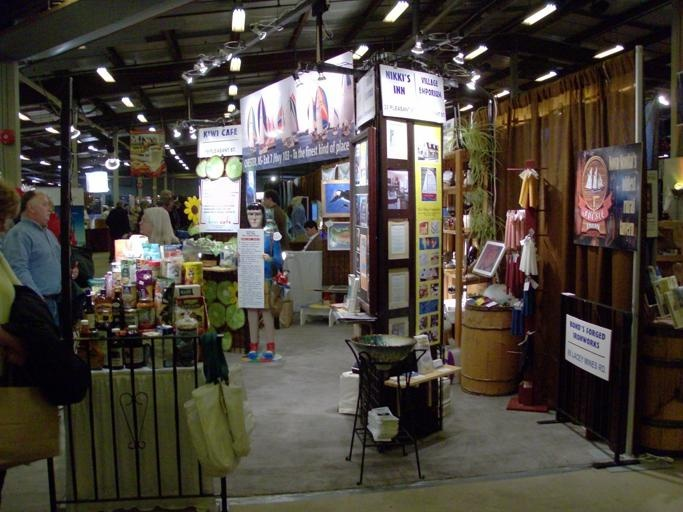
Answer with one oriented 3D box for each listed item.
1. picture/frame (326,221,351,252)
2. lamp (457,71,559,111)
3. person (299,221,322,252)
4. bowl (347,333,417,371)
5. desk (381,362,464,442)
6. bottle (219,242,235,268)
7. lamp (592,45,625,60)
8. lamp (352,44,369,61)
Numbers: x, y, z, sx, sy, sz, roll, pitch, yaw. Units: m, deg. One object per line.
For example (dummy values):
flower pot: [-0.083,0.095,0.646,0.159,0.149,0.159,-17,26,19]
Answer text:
picture/frame: [-0.052,-0.328,9.428,0.438,0.496,0.030,2,4,27]
lamp: [4.254,-4.124,14.656,2.186,0.875,2.282,1,9,9]
person: [-0.524,-0.339,10.193,0.382,0.699,0.750,1,3,7]
bowl: [0.327,0.826,4.809,0.534,0.271,0.554,-3,4,0]
desk: [0.696,1.285,5.204,0.488,0.686,0.936,6,10,40]
bottle: [-1.502,-0.018,7.695,0.236,0.403,0.258,3,0,0]
lamp: [5.724,-4.389,12.268,0.356,0.178,1.107,0,9,0]
lamp: [0.367,-3.985,11.150,0.095,0.419,0.425,23,5,-9]
